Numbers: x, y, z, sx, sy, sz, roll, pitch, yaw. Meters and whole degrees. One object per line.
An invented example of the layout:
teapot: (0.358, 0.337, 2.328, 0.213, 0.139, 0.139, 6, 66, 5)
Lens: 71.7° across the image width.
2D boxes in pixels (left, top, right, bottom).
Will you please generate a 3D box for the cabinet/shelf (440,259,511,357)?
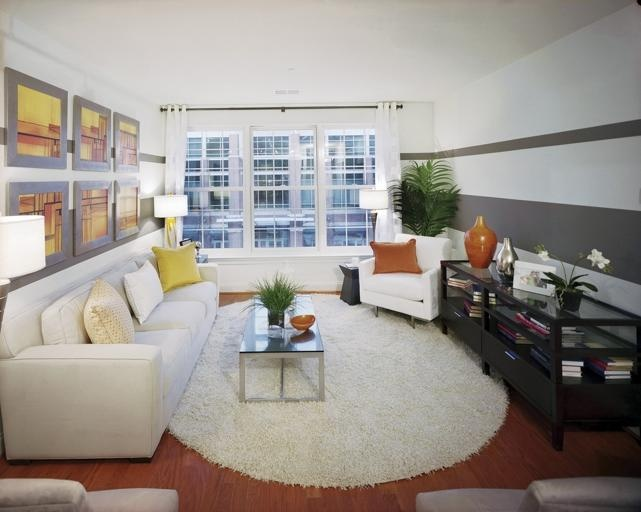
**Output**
cabinet/shelf: (1.554, 0.346, 4.547, 0.803, 0.720, 0.319, -7, -11, -18)

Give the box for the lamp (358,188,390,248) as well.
lamp: (0.765, -0.647, 6.392, 0.439, 0.754, 0.457, 14, 26, 38)

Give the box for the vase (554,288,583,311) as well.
vase: (1.691, 0.320, 3.034, 0.154, 0.147, 0.135, -5, -11, 39)

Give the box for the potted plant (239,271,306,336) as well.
potted plant: (-0.399, 0.471, 3.904, 0.377, 0.556, 0.469, 3, -8, -17)

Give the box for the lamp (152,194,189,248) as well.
lamp: (-2.080, -0.472, 6.149, 0.564, 0.837, 0.601, 0, 13, -24)

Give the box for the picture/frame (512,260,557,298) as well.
picture/frame: (1.666, 0.188, 3.484, 0.220, 0.219, 0.011, 8, -4, 32)

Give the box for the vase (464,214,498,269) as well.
vase: (1.539, -0.129, 4.427, 0.291, 0.562, 0.320, 0, 5, 11)

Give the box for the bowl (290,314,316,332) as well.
bowl: (-0.150, 0.577, 3.847, 0.137, 0.071, 0.150, 4, 15, 16)

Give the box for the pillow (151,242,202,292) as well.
pillow: (-1.604, 0.113, 5.085, 0.178, 0.542, 0.514, -15, -2, 45)

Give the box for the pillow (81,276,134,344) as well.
pillow: (-1.587, 0.444, 3.368, 0.273, 0.425, 0.544, -4, 16, -21)

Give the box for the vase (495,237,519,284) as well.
vase: (1.641, 0.023, 3.911, 0.175, 0.369, 0.191, -4, 9, -7)

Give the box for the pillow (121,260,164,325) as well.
pillow: (-1.611, 0.343, 4.006, 0.119, 0.316, 0.433, -15, 14, 1)

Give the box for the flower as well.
flower: (1.847, 0.144, 3.250, 0.367, 0.351, 0.441, 2, -3, -7)
